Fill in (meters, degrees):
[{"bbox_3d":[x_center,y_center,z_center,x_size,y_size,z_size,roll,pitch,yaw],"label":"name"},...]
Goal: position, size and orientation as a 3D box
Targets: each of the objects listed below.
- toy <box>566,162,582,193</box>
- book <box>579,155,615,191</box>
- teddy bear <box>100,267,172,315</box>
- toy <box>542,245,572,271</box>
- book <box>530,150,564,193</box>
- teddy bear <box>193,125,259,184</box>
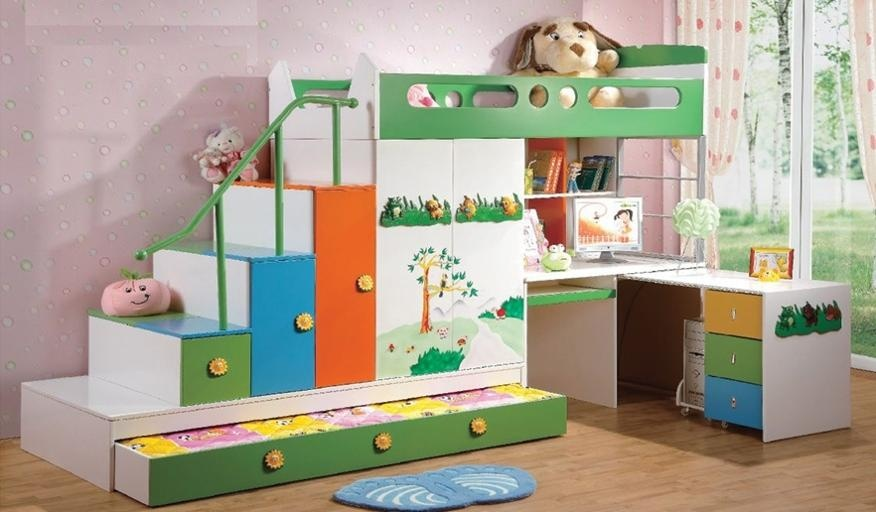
[{"bbox_3d":[1.135,-0.660,5.871,0.108,0.237,0.392,2,11,12],"label":"toy"},{"bbox_3d":[1.324,-0.695,5.974,0.265,0.279,0.180,5,12,27],"label":"book"},{"bbox_3d":[-1.952,0.231,4.610,0.461,0.274,0.423,2,2,11],"label":"teddy bear"},{"bbox_3d":[0.871,0.010,5.225,0.215,0.163,0.239,1,11,7],"label":"toy"},{"bbox_3d":[0.881,-0.674,5.707,0.083,0.306,0.335,8,20,-35],"label":"book"},{"bbox_3d":[-1.470,-0.704,5.038,0.424,0.409,0.284,-3,20,-3],"label":"teddy bear"}]
